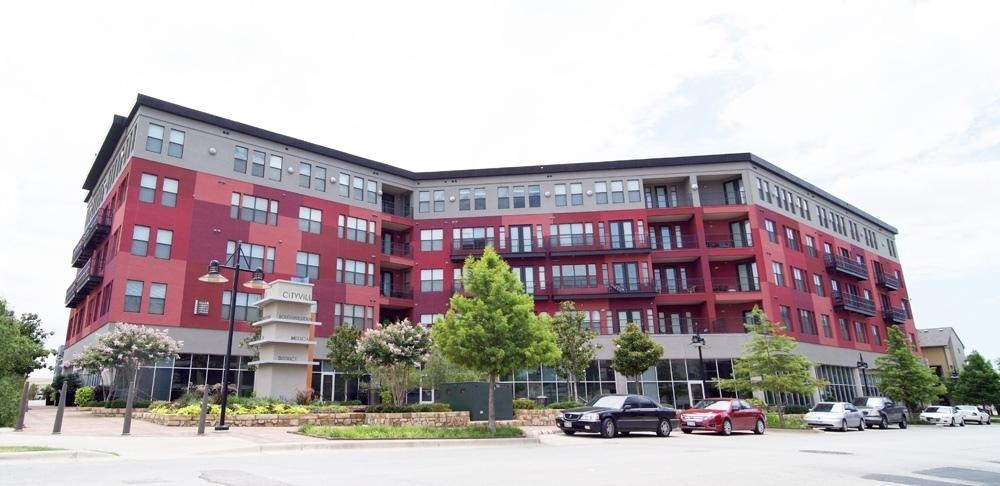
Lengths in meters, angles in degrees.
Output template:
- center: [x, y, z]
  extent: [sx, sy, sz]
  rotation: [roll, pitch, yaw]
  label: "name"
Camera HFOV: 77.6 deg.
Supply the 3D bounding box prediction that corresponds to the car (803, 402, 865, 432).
- center: [28.166, 14.747, 52.479]
  extent: [4.872, 2.468, 2.121]
  rotation: [2, -1, -24]
  label: "car"
